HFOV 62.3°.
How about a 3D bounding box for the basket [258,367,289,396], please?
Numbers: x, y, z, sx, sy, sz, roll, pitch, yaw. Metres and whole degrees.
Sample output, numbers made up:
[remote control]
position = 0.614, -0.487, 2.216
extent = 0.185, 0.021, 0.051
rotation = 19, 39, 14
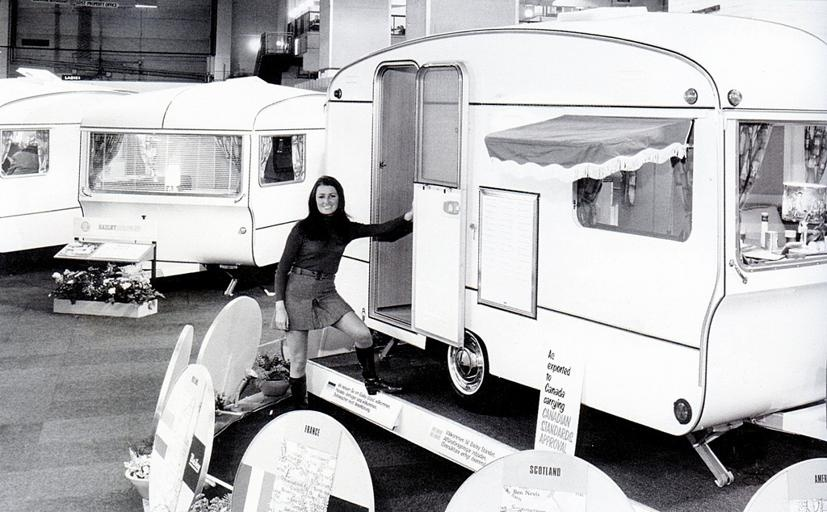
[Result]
[basket]
position = -1.461, 1.323, 7.178
extent = 0.267, 0.161, 0.266
rotation = -3, 5, -16

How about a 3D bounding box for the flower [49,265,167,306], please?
[flower]
position = -4.471, 0.453, 10.339
extent = 0.931, 0.407, 0.861
rotation = 7, 6, 33

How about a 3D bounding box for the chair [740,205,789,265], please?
[chair]
position = 2.702, -0.172, 5.276
extent = 0.713, 0.357, 0.280
rotation = -14, 19, -43

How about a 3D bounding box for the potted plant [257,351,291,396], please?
[potted plant]
position = -1.475, 1.251, 7.310
extent = 0.386, 0.387, 0.326
rotation = -4, 7, -39
